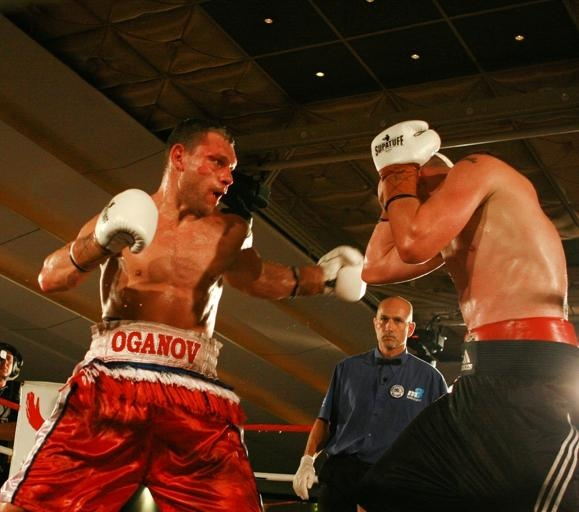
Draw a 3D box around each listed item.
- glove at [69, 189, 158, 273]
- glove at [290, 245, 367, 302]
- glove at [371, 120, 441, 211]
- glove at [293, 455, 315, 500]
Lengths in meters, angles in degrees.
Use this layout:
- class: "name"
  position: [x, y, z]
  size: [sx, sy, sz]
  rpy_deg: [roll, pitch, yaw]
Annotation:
- class: "glove"
  position: [-0.583, -0.135, 2.172]
  size: [0.182, 0.251, 0.187]
  rpy_deg: [18, -26, -20]
- class: "glove"
  position: [0.244, 0.085, 2.711]
  size: [0.271, 0.243, 0.127]
  rpy_deg: [14, -21, 10]
- class: "glove"
  position: [0.486, -0.409, 2.347]
  size: [0.308, 0.328, 0.120]
  rpy_deg: [-14, -58, 23]
- class: "glove"
  position: [0.087, 1.353, 3.646]
  size: [0.107, 0.237, 0.220]
  rpy_deg: [9, 4, -4]
